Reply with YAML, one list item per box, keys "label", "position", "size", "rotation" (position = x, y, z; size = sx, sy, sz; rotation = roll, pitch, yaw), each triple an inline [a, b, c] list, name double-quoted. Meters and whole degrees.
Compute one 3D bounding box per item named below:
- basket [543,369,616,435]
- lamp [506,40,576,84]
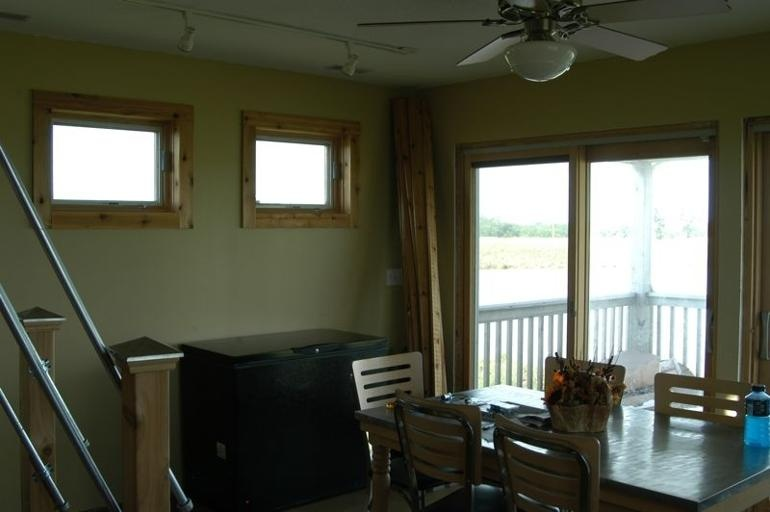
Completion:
- label: "basket"
  position: [1.054, 0.784, 3.471]
  size: [0.323, 0.302, 0.355]
  rotation: [-1, 0, 6]
- label: "lamp"
  position: [0.730, -0.918, 3.000]
  size: [0.298, 0.162, 0.169]
  rotation: [-1, 4, -19]
